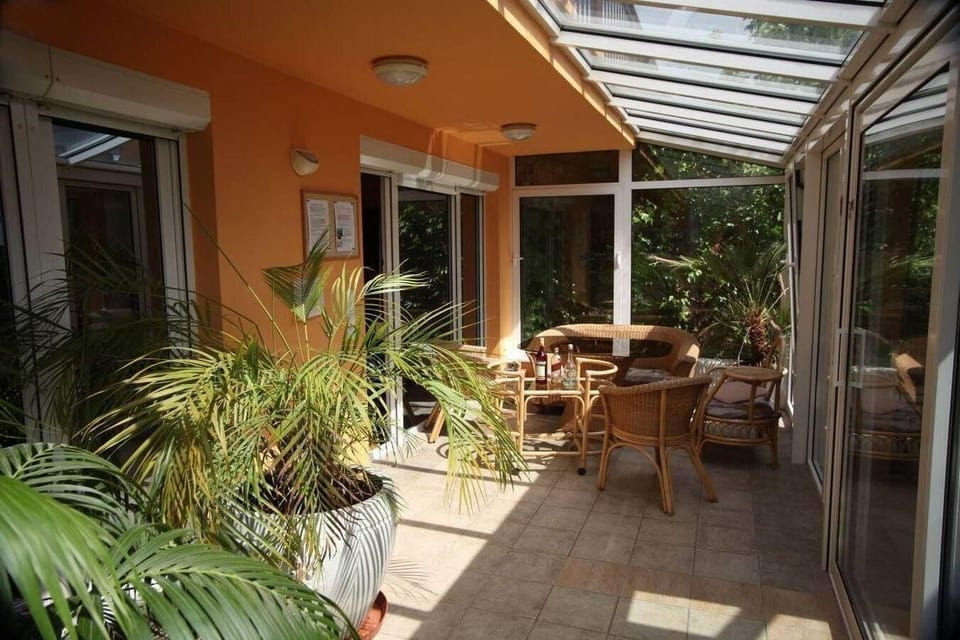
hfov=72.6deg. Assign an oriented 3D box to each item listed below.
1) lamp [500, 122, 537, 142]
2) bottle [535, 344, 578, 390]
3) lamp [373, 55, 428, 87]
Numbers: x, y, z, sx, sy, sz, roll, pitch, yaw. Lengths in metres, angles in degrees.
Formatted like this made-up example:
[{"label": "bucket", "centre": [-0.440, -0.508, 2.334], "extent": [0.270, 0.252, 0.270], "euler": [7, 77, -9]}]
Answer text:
[{"label": "lamp", "centre": [0.360, -1.839, 6.362], "extent": [0.231, 0.085, 0.233], "euler": [-1, 0, -8]}, {"label": "bottle", "centre": [0.699, 0.446, 6.125], "extent": [0.390, 0.537, 0.142], "euler": [1, -3, -12]}, {"label": "lamp", "centre": [-0.553, -1.711, 4.475], "extent": [0.386, 0.153, 0.199], "euler": [-3, 11, -9]}]
